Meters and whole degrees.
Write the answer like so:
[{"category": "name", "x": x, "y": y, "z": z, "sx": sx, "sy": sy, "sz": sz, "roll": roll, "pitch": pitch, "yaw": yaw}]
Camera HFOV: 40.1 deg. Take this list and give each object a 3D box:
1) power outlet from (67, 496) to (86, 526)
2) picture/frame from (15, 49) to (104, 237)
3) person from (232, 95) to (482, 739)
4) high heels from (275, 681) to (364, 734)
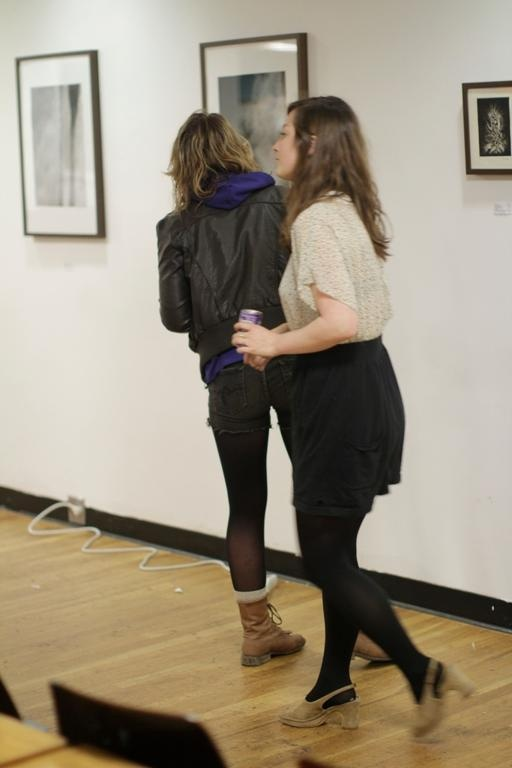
[{"category": "power outlet", "x": -1.070, "y": 0.749, "z": 4.159, "sx": 0.160, "sy": 0.169, "sz": 0.046, "roll": 1, "pitch": 6, "yaw": 45}, {"category": "picture/frame", "x": -1.089, "y": -1.319, "z": 3.891, "sx": 0.667, "sy": 1.073, "sz": 0.060, "roll": 0, "pitch": 5, "yaw": 36}, {"category": "person", "x": 0.193, "y": 0.043, "z": 1.589, "sx": 0.488, "sy": 1.420, "sz": 0.301, "roll": -3, "pitch": 4, "yaw": 3}, {"category": "high heels", "x": 0.188, "y": 0.858, "z": 1.902, "sx": 0.258, "sy": 0.129, "sz": 0.101, "roll": 0, "pitch": -2, "yaw": 10}]
